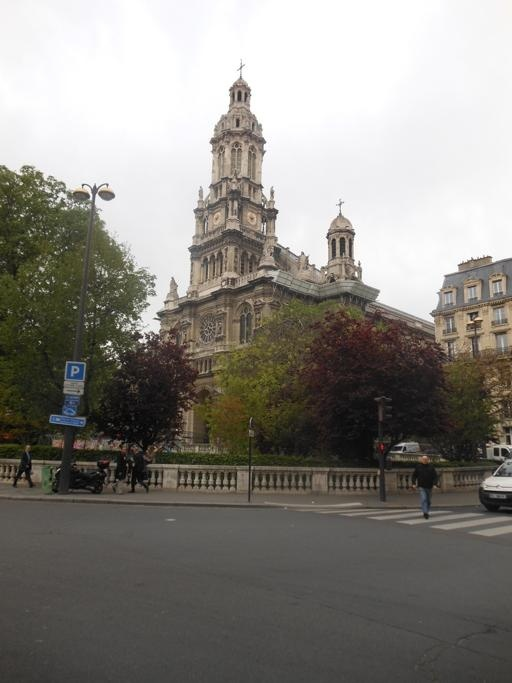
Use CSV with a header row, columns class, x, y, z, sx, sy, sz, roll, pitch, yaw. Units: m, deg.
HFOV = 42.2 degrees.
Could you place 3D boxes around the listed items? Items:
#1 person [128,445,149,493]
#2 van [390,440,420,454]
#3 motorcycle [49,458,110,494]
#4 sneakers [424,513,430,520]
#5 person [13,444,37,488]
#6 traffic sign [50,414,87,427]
class,x,y,z,sx,sy,sz,roll,pitch,yaw
person,-3.188,3.538,18.323,0.517,1.183,0.499,4,-3,-10
van,9.715,6.852,42.799,1.635,0.982,4.319,-1,-13,14
motorcycle,-4.680,3.579,17.627,1.472,0.860,0.689,10,-57,-10
sneakers,3.734,3.818,14.501,0.069,0.089,0.210,-4,-36,6
person,-6.628,3.591,19.156,0.540,1.213,1.943,6,-13,-18
traffic sign,-4.722,1.996,16.801,0.789,0.332,1.193,4,-13,-12
